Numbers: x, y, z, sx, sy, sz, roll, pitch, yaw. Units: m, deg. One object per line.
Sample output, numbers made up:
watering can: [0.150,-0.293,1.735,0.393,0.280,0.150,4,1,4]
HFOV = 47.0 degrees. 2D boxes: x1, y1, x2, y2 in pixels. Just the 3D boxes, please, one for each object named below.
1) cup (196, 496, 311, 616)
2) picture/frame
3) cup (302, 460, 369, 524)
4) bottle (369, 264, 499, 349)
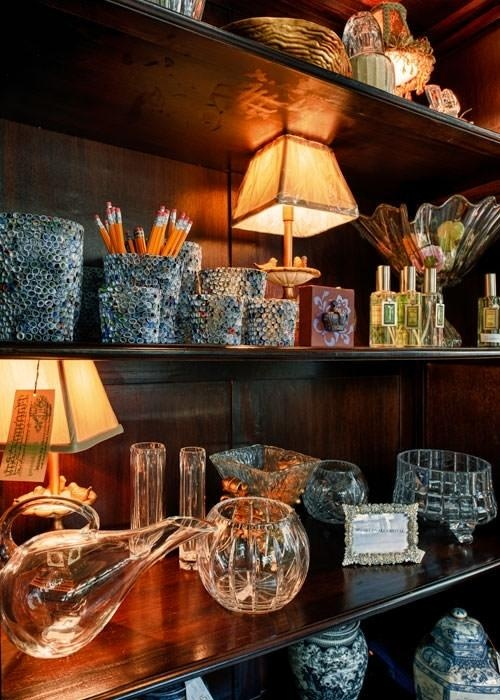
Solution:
cup: [0.005,0.297,0.900,0.151,0.124,0.153,1,4,0]
picture/frame: [0.232,0.329,1.010,0.103,0.078,0.007,0,-6,-10]
cup: [0.169,0.288,1.167,0.141,0.106,0.145,0,1,0]
bottle: [0.383,-0.091,1.178,0.200,0.118,0.041,1,-3,-26]
